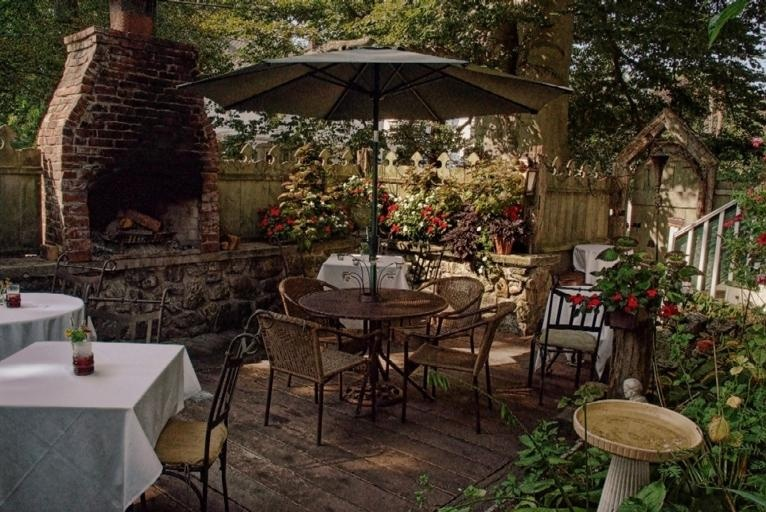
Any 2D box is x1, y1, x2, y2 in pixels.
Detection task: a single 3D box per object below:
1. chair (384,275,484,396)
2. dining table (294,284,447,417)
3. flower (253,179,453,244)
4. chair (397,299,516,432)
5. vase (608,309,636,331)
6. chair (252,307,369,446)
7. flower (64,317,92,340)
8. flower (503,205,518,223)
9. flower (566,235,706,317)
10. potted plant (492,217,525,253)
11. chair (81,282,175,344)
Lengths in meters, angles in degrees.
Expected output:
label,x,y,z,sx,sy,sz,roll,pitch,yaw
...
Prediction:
label,x,y,z,sx,sy,sz,roll,pitch,yaw
chair,0.598,0.722,6.715,1.041,0.975,1.001,-4,10,-26
dining table,-0.082,1.042,6.129,1.263,1.005,1.297,-5,8,-38
flower,-0.674,-0.665,9.268,1.973,0.676,1.402,-20,35,-32
chair,0.736,1.031,5.930,0.955,1.190,0.885,8,11,23
vase,1.991,0.539,4.980,0.138,0.177,0.236,9,-9,-44
chair,-0.663,1.080,5.728,0.819,1.143,0.958,6,8,29
flower,-2.597,0.614,5.065,0.175,0.129,0.179,2,-18,-23
flower,1.846,-0.603,8.524,0.219,0.194,0.221,-2,-1,-32
flower,2.168,0.275,5.232,0.847,0.551,0.754,-17,29,1
potted plant,1.727,-0.280,8.503,0.457,0.483,0.469,1,-1,-5
chair,-2.856,0.612,6.617,0.602,1.093,0.701,0,-14,-10
